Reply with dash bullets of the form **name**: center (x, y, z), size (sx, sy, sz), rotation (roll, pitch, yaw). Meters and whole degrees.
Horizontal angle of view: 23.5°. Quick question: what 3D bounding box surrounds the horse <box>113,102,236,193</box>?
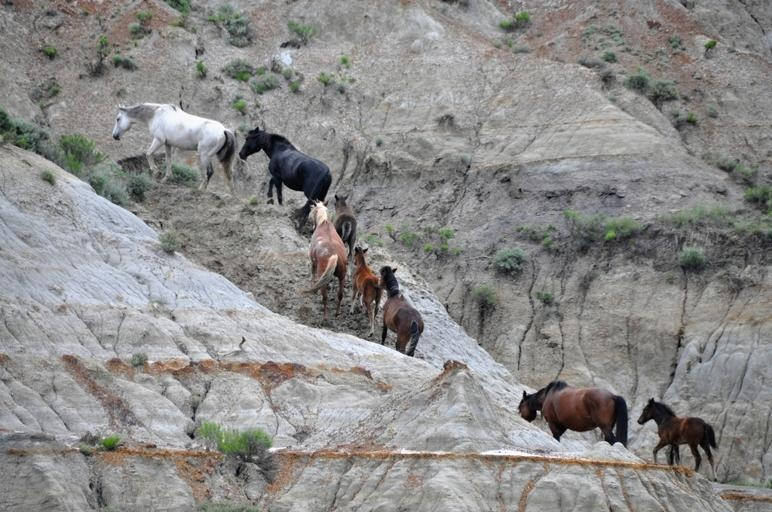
- **horse**: center (-9.277, -4.827, 82.294), size (5.722, 3.666, 1.567), rotation (7, 11, 15)

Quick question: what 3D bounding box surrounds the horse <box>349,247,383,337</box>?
- **horse**: center (-0.838, 1.326, 77.674), size (0.948, 3.150, 4.439), rotation (3, 26, -15)

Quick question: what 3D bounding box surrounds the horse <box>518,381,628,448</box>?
- **horse**: center (7.664, 6.344, 73.979), size (4.758, 2.489, 0.632), rotation (13, 9, 36)

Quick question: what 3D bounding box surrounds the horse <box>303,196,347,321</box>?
- **horse**: center (-2.479, 0.313, 78.134), size (1.605, 4.589, 2.928), rotation (6, 7, -8)

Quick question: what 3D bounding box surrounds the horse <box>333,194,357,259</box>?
- **horse**: center (-1.797, -1.163, 79.794), size (0.817, 2.178, 3.263), rotation (-1, 48, -8)

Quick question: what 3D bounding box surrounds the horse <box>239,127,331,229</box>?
- **horse**: center (-4.397, -3.600, 82.263), size (5.104, 2.997, 1.440), rotation (23, 18, 30)

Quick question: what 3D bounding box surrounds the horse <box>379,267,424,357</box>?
- **horse**: center (0.972, 2.289, 76.960), size (1.688, 3.643, 2.338), rotation (1, 5, -6)

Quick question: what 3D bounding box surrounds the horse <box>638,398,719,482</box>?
- **horse**: center (12.048, 7.305, 77.085), size (1.524, 4.036, 5.241), rotation (10, -6, -43)
